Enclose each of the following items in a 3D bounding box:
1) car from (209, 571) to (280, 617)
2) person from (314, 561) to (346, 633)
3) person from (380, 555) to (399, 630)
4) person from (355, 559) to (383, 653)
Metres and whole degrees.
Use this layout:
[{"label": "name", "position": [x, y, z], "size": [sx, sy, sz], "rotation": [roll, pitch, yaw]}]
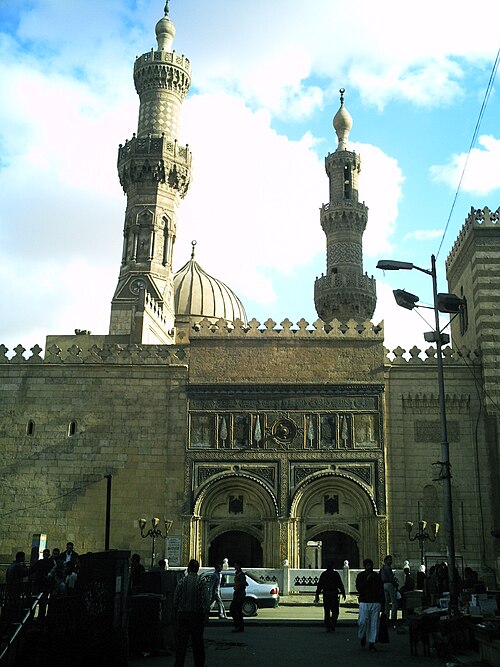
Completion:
[{"label": "car", "position": [0.104, 6.251, 18.161], "size": [2.317, 1.045, 1.226], "rotation": [5, -21, -5]}, {"label": "person", "position": [1.532, 5.007, 13.992], "size": [0.523, 1.179, 1.874], "rotation": [-2, -17, 6]}, {"label": "person", "position": [2.892, 5.196, 15.030], "size": [0.349, 1.279, 0.402], "rotation": [2, -13, -26]}, {"label": "person", "position": [1.763, 3.959, 10.791], "size": [0.393, 1.231, 0.916], "rotation": [-2, -17, 9]}]
